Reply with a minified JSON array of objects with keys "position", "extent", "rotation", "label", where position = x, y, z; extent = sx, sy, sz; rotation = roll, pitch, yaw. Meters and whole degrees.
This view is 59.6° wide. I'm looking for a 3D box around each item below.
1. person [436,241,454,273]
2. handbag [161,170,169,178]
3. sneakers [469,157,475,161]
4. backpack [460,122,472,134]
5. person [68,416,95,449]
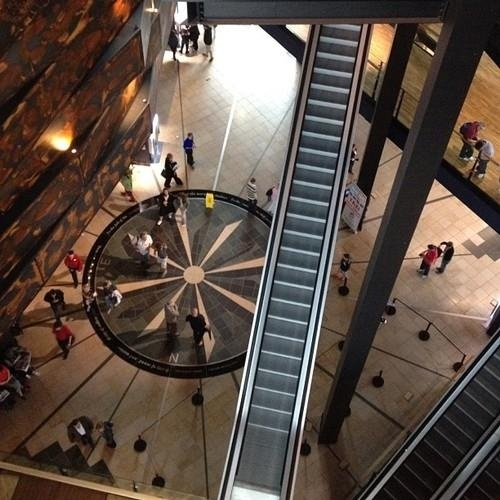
[{"position":[6.109,0.269,13.637],"extent":[0.366,0.329,0.903],"rotation":[-37,-26,-5],"label":"person"},{"position":[-2.835,-2.566,14.674],"extent":[0.212,0.100,0.347],"rotation":[2,-82,2],"label":"handbag"},{"position":[6.166,-2.535,12.114],"extent":[0.037,0.075,0.128],"rotation":[5,-92,-51],"label":"sneakers"},{"position":[6.137,-3.394,12.415],"extent":[0.341,0.261,0.397],"rotation":[30,-112,-55],"label":"backpack"},{"position":[-3.937,4.292,10.281],"extent":[0.502,0.269,0.853],"rotation":[-6,-95,-4],"label":"person"}]
